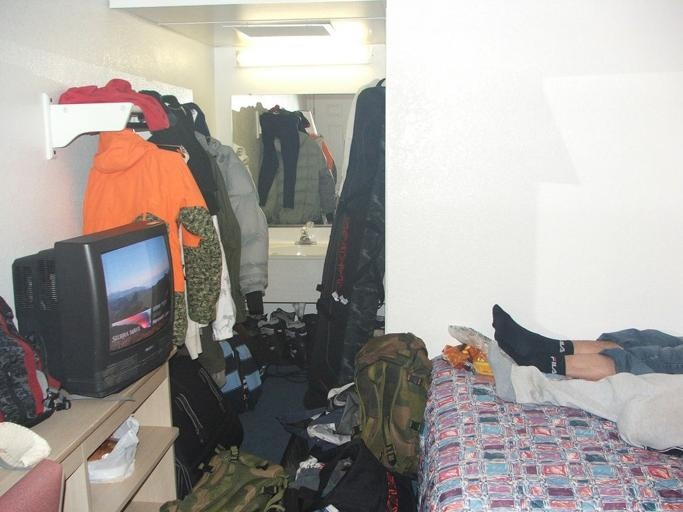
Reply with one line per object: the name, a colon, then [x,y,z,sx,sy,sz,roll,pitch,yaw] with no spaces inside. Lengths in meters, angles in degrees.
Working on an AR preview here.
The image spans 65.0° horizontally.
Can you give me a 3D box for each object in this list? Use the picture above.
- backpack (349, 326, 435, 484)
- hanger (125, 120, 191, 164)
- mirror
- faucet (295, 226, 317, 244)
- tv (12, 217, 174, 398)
backpack: [0.249,0.707,2.619,0.373,0.538,0.446,1,15,9]
hanger: [-0.858,-0.527,2.486,0.310,0.283,0.071,5,-3,-18]
mirror: [-0.331,-0.716,3.715,1.030,1.106,0.119,0,11,0]
faucet: [-0.266,-0.158,3.962,0.141,0.131,0.065,-4,15,-10]
tv: [-0.988,0.181,2.174,0.598,0.580,0.492,12,15,31]
